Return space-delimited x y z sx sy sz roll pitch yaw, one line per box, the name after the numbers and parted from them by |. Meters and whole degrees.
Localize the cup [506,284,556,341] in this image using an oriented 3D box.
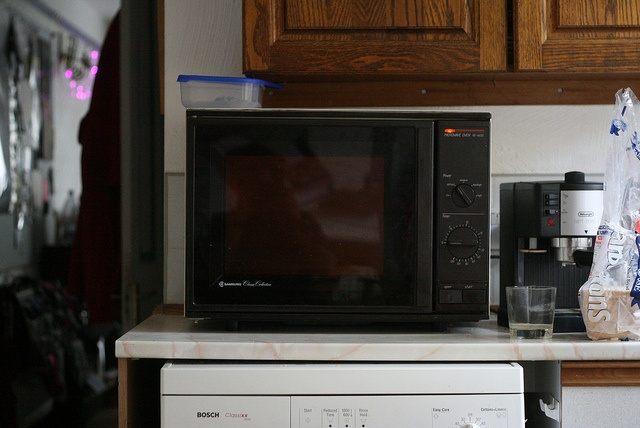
0.628 0.296 2.038 0.164 0.146 0.147 -3 -8 15 | cup
